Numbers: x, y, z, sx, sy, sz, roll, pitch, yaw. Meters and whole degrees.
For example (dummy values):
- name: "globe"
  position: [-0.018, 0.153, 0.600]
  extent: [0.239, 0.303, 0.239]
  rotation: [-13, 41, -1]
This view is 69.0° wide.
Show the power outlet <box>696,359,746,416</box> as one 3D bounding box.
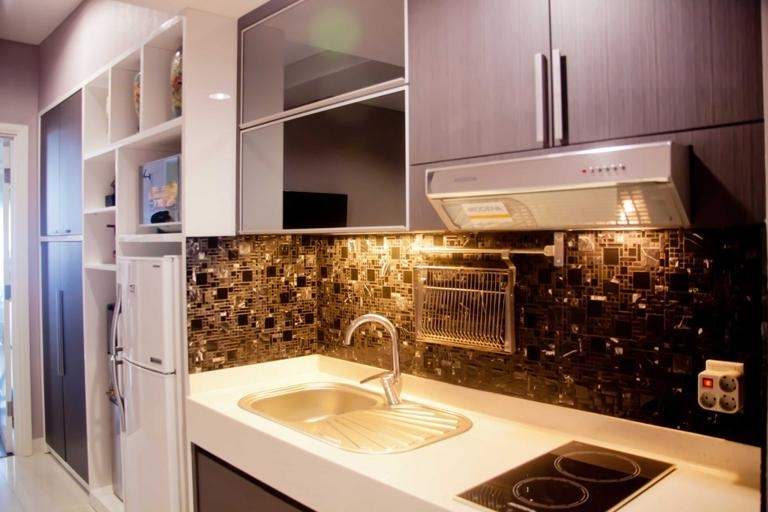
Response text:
- name: "power outlet"
  position: [1.289, 0.488, 2.128]
  extent: [0.137, 0.165, 0.162]
  rotation: [5, 13, 39]

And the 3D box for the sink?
- name: "sink"
  position: [-0.374, 0.845, 3.153]
  extent: [0.750, 0.219, 0.290]
  rotation: [-3, 10, 0]

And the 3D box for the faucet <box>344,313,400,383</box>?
- name: "faucet"
  position: [-0.051, 0.467, 3.060]
  extent: [0.273, 0.388, 0.508]
  rotation: [-3, 10, 1]

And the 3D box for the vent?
- name: "vent"
  position: [0.665, -0.248, 2.311]
  extent: [1.028, 0.319, 0.309]
  rotation: [0, 7, 39]
